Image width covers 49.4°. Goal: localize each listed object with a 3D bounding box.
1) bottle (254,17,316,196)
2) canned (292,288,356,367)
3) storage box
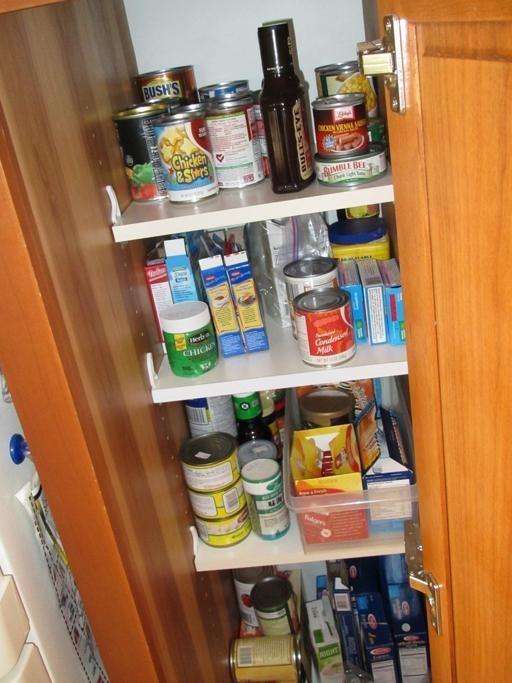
[{"bbox_3d":[0.040,-0.369,0.888,0.069,0.243,0.089,-5,29,14],"label":"bottle"},{"bbox_3d":[0.122,-0.027,0.987,0.098,0.115,0.085,-9,28,6],"label":"canned"},{"bbox_3d":[0.170,0.274,1.094,0.226,0.182,0.301,-1,48,2],"label":"storage box"}]
